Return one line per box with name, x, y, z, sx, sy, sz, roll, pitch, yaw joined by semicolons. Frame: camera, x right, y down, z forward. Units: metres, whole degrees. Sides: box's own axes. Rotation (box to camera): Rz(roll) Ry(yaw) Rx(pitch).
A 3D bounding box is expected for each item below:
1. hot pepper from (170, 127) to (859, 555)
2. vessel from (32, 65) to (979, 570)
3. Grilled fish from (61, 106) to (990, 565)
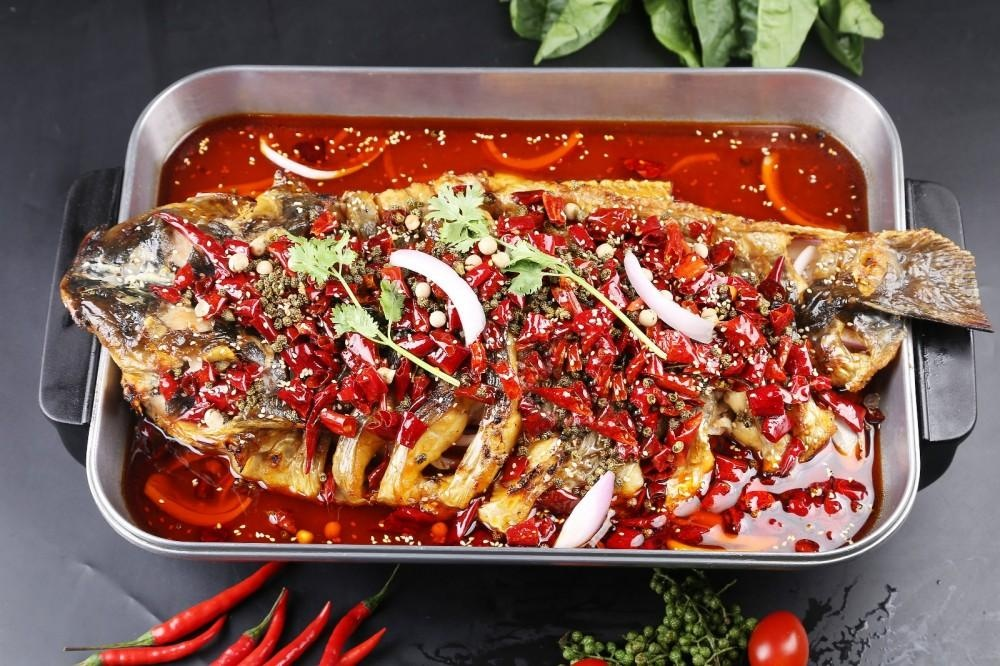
hot pepper;0.287;0.000;6.088;3.814;0.790;2.481;4;78;-2
vessel;0.145;-0.227;7.744;4.529;3.725;3.760;2;56;1
Grilled fish;-0.019;-0.649;7.597;4.521;0.667;2.737;0;81;-1
